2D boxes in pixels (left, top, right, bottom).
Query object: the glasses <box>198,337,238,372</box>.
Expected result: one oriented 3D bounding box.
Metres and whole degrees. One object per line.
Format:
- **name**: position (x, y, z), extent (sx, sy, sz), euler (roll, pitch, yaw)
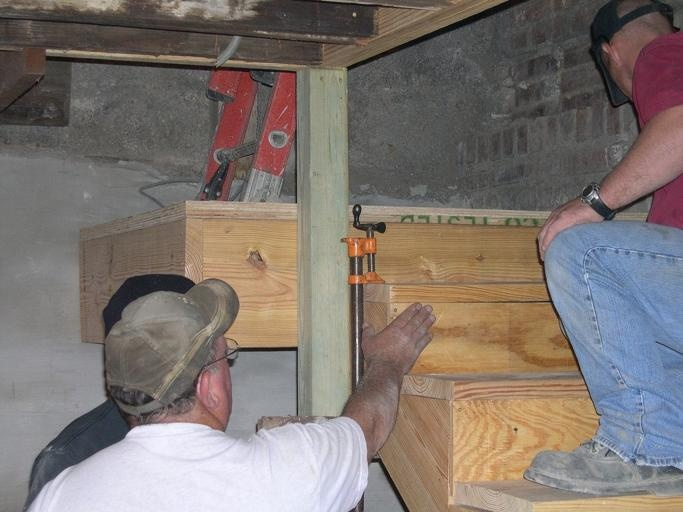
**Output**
- **glasses**: position (-0.417, 0.352, 3.036), extent (0.135, 0.041, 0.129), euler (-22, 12, -19)
